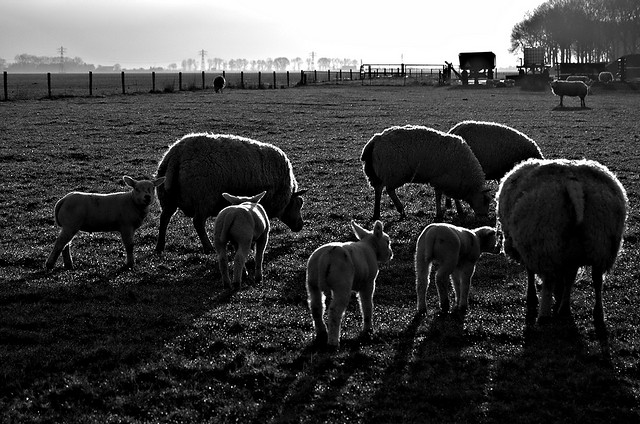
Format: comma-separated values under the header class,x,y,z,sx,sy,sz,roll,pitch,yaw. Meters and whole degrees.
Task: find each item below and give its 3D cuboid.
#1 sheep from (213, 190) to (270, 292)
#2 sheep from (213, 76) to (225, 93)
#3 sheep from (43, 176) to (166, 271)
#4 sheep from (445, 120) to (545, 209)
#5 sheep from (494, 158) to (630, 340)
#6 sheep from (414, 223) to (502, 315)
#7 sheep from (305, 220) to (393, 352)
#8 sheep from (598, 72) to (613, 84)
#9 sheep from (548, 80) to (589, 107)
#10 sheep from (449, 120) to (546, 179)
class,x,y,z,sx,sy,sz,roll,pitch,yaw
sheep,-1.279,0.466,11.988,0.704,1.630,2.039,-3,-4,9
sheep,-6.630,-8.655,47.050,0.646,1.317,2.327,-1,12,-16
sheep,-3.937,0.134,12.555,1.993,1.567,1.594,-6,11,-24
sheep,4.095,-1.193,16.973,2.598,2.200,1.267,1,9,-9
sheep,4.028,0.502,12.189,1.694,2.903,4.221,-1,3,7
sheep,2.229,0.874,11.044,1.667,1.493,0.708,9,-8,-37
sheep,0.515,0.993,10.466,0.646,1.749,2.102,0,1,30
sheep,21.966,-10.412,53.898,0.696,0.904,1.551,1,10,8
sheep,13.405,-6.381,37.593,1.944,1.385,0.811,5,6,20
sheep,4.363,-1.280,16.956,1.079,1.848,2.931,-8,11,-22
